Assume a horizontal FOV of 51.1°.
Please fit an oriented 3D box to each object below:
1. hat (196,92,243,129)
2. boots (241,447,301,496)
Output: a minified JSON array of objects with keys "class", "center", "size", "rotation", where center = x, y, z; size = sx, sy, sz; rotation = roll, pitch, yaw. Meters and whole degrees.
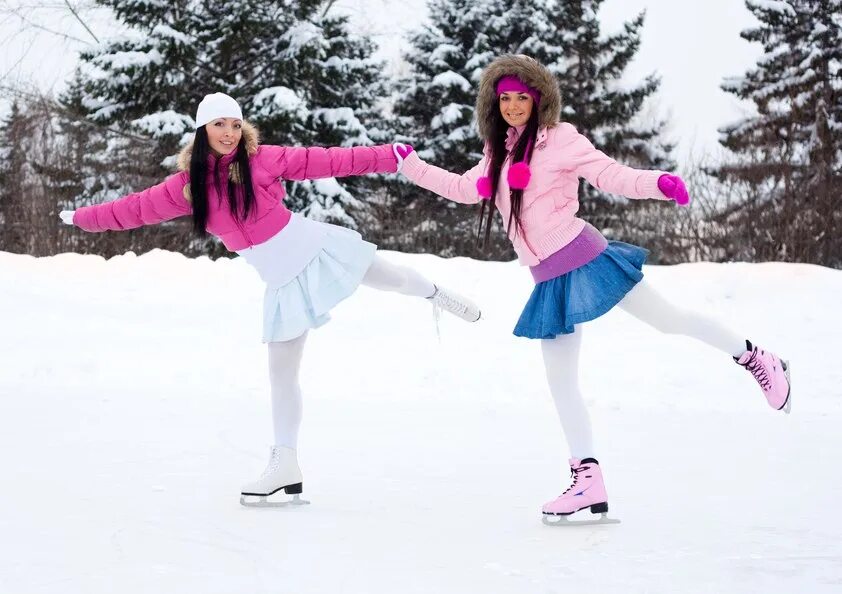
[{"class":"hat","center":[-1.551,-1.377,6.694],"size":[0.277,0.242,0.285],"rotation":[22,26,19]},{"class":"boots","center":[-1.082,1.330,6.632],"size":[0.586,0.479,0.238],"rotation":[1,-4,-5]}]
